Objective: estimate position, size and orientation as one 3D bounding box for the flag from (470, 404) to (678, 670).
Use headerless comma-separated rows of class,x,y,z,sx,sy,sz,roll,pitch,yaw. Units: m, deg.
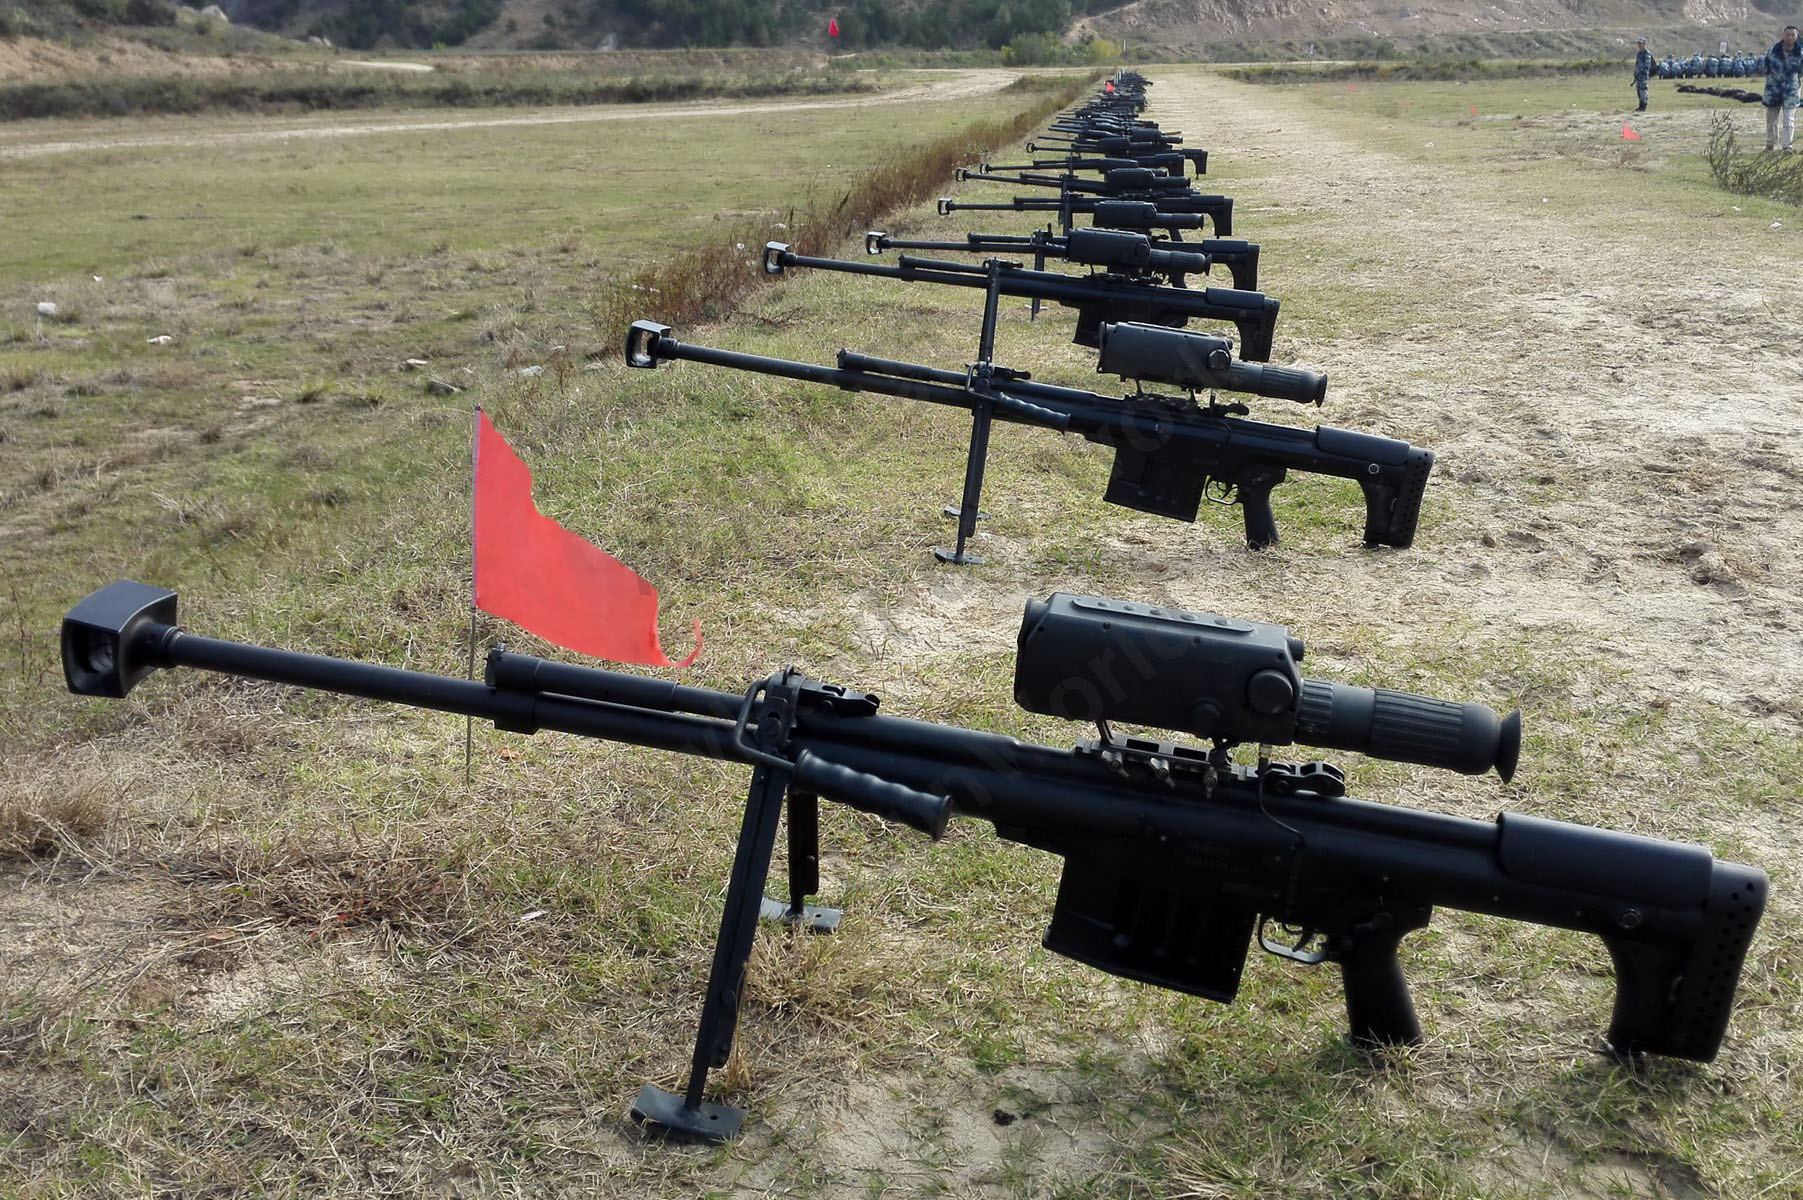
flag,-2.350,-0.427,11.207,0.989,1.996,1.951,-16,64,-18
